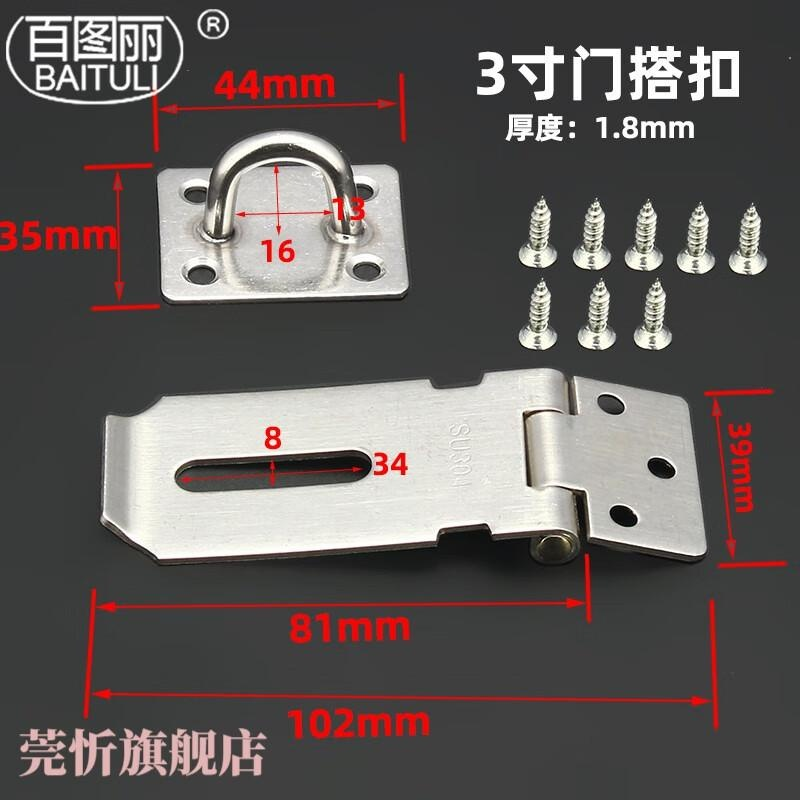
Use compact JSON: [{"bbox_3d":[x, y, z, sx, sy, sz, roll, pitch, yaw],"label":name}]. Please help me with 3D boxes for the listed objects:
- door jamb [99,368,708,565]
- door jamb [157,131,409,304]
[{"bbox_3d":[-0.015,0.123,1.576,1.155,0.132,0.308,-4,49,1],"label":"door jamb"},{"bbox_3d":[-0.218,-0.328,1.792,0.471,0.248,0.203,0,1,-4],"label":"door jamb"}]
